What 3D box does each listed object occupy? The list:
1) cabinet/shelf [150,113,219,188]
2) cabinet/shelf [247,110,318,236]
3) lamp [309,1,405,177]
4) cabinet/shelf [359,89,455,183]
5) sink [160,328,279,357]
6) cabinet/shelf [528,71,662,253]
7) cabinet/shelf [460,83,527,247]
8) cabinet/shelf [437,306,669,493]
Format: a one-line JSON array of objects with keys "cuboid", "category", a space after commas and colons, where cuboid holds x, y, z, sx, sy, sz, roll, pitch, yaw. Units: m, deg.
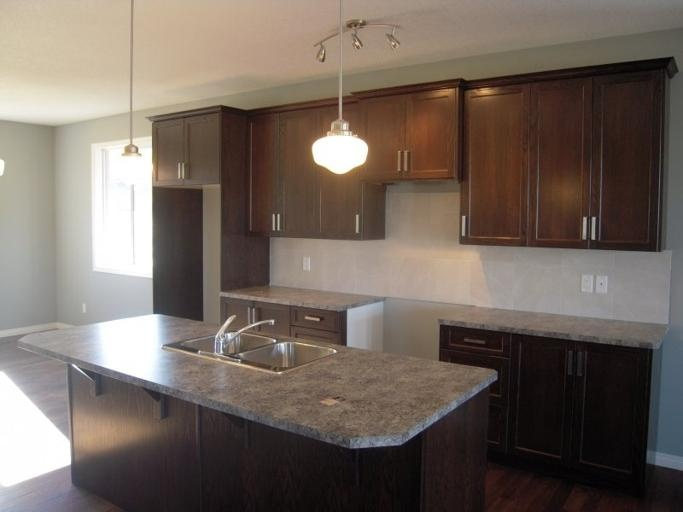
[{"cuboid": [-1.538, -1.053, 5.693, 0.891, 0.713, 0.351, 1, 2, 24], "category": "cabinet/shelf"}, {"cuboid": [-0.668, -0.829, 5.438, 0.845, 1.221, 0.415, -7, 16, -29], "category": "cabinet/shelf"}, {"cuboid": [0.127, -1.116, 3.645, 0.614, 1.094, 1.469, 0, 12, -2], "category": "lamp"}, {"cuboid": [0.578, -0.968, 4.637, 0.841, 0.725, 0.316, 2, 5, 27], "category": "cabinet/shelf"}, {"cuboid": [-0.795, 0.561, 3.511, 0.265, 0.126, 0.325, 3, 4, 39], "category": "sink"}, {"cuboid": [1.850, -0.762, 4.107, 0.833, 1.455, 0.438, 6, 33, 31], "category": "cabinet/shelf"}, {"cuboid": [1.193, -0.677, 4.271, 0.552, 1.256, 0.144, 3, 9, 35], "category": "cabinet/shelf"}, {"cuboid": [1.643, 0.834, 4.272, 1.837, 1.403, 0.976, 2, 2, 33], "category": "cabinet/shelf"}]
